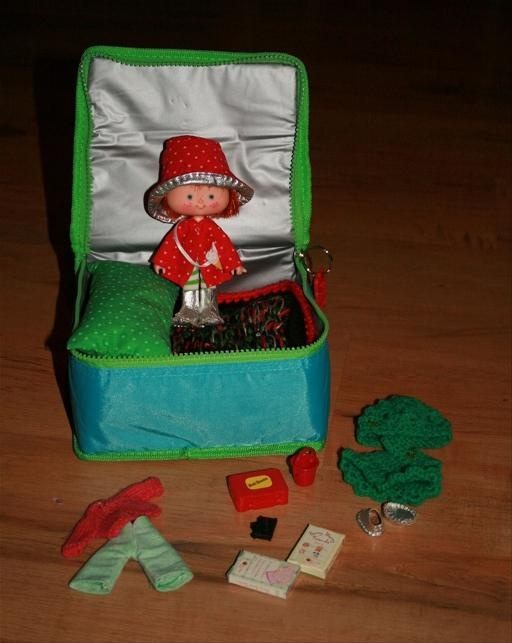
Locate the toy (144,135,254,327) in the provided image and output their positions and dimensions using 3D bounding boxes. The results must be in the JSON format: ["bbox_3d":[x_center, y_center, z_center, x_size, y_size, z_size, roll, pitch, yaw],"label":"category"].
[{"bbox_3d":[-0.152,-0.247,1.830,0.283,0.442,0.359,-1,42,-8],"label":"toy"}]
